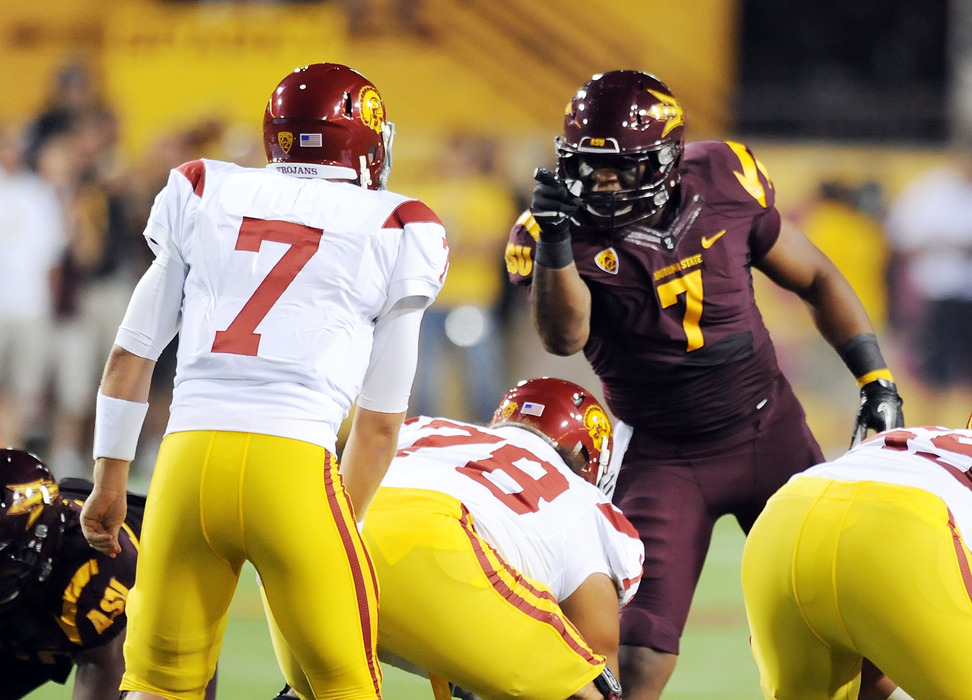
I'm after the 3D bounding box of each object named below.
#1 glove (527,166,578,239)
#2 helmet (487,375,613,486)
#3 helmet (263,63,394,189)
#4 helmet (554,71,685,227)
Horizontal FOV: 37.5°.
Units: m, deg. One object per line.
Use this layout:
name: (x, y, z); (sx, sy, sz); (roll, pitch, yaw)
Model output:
glove: (0.239, -0.489, 4.644); (0.088, 0.217, 0.154); (-27, 41, -8)
helmet: (0.250, 0.262, 4.966); (0.294, 0.414, 0.343); (-20, 36, 44)
helmet: (-0.416, -0.686, 4.377); (0.291, 0.360, 0.406); (7, 5, 37)
helmet: (0.528, -0.707, 4.953); (0.382, 0.426, 0.536); (4, 41, 22)
